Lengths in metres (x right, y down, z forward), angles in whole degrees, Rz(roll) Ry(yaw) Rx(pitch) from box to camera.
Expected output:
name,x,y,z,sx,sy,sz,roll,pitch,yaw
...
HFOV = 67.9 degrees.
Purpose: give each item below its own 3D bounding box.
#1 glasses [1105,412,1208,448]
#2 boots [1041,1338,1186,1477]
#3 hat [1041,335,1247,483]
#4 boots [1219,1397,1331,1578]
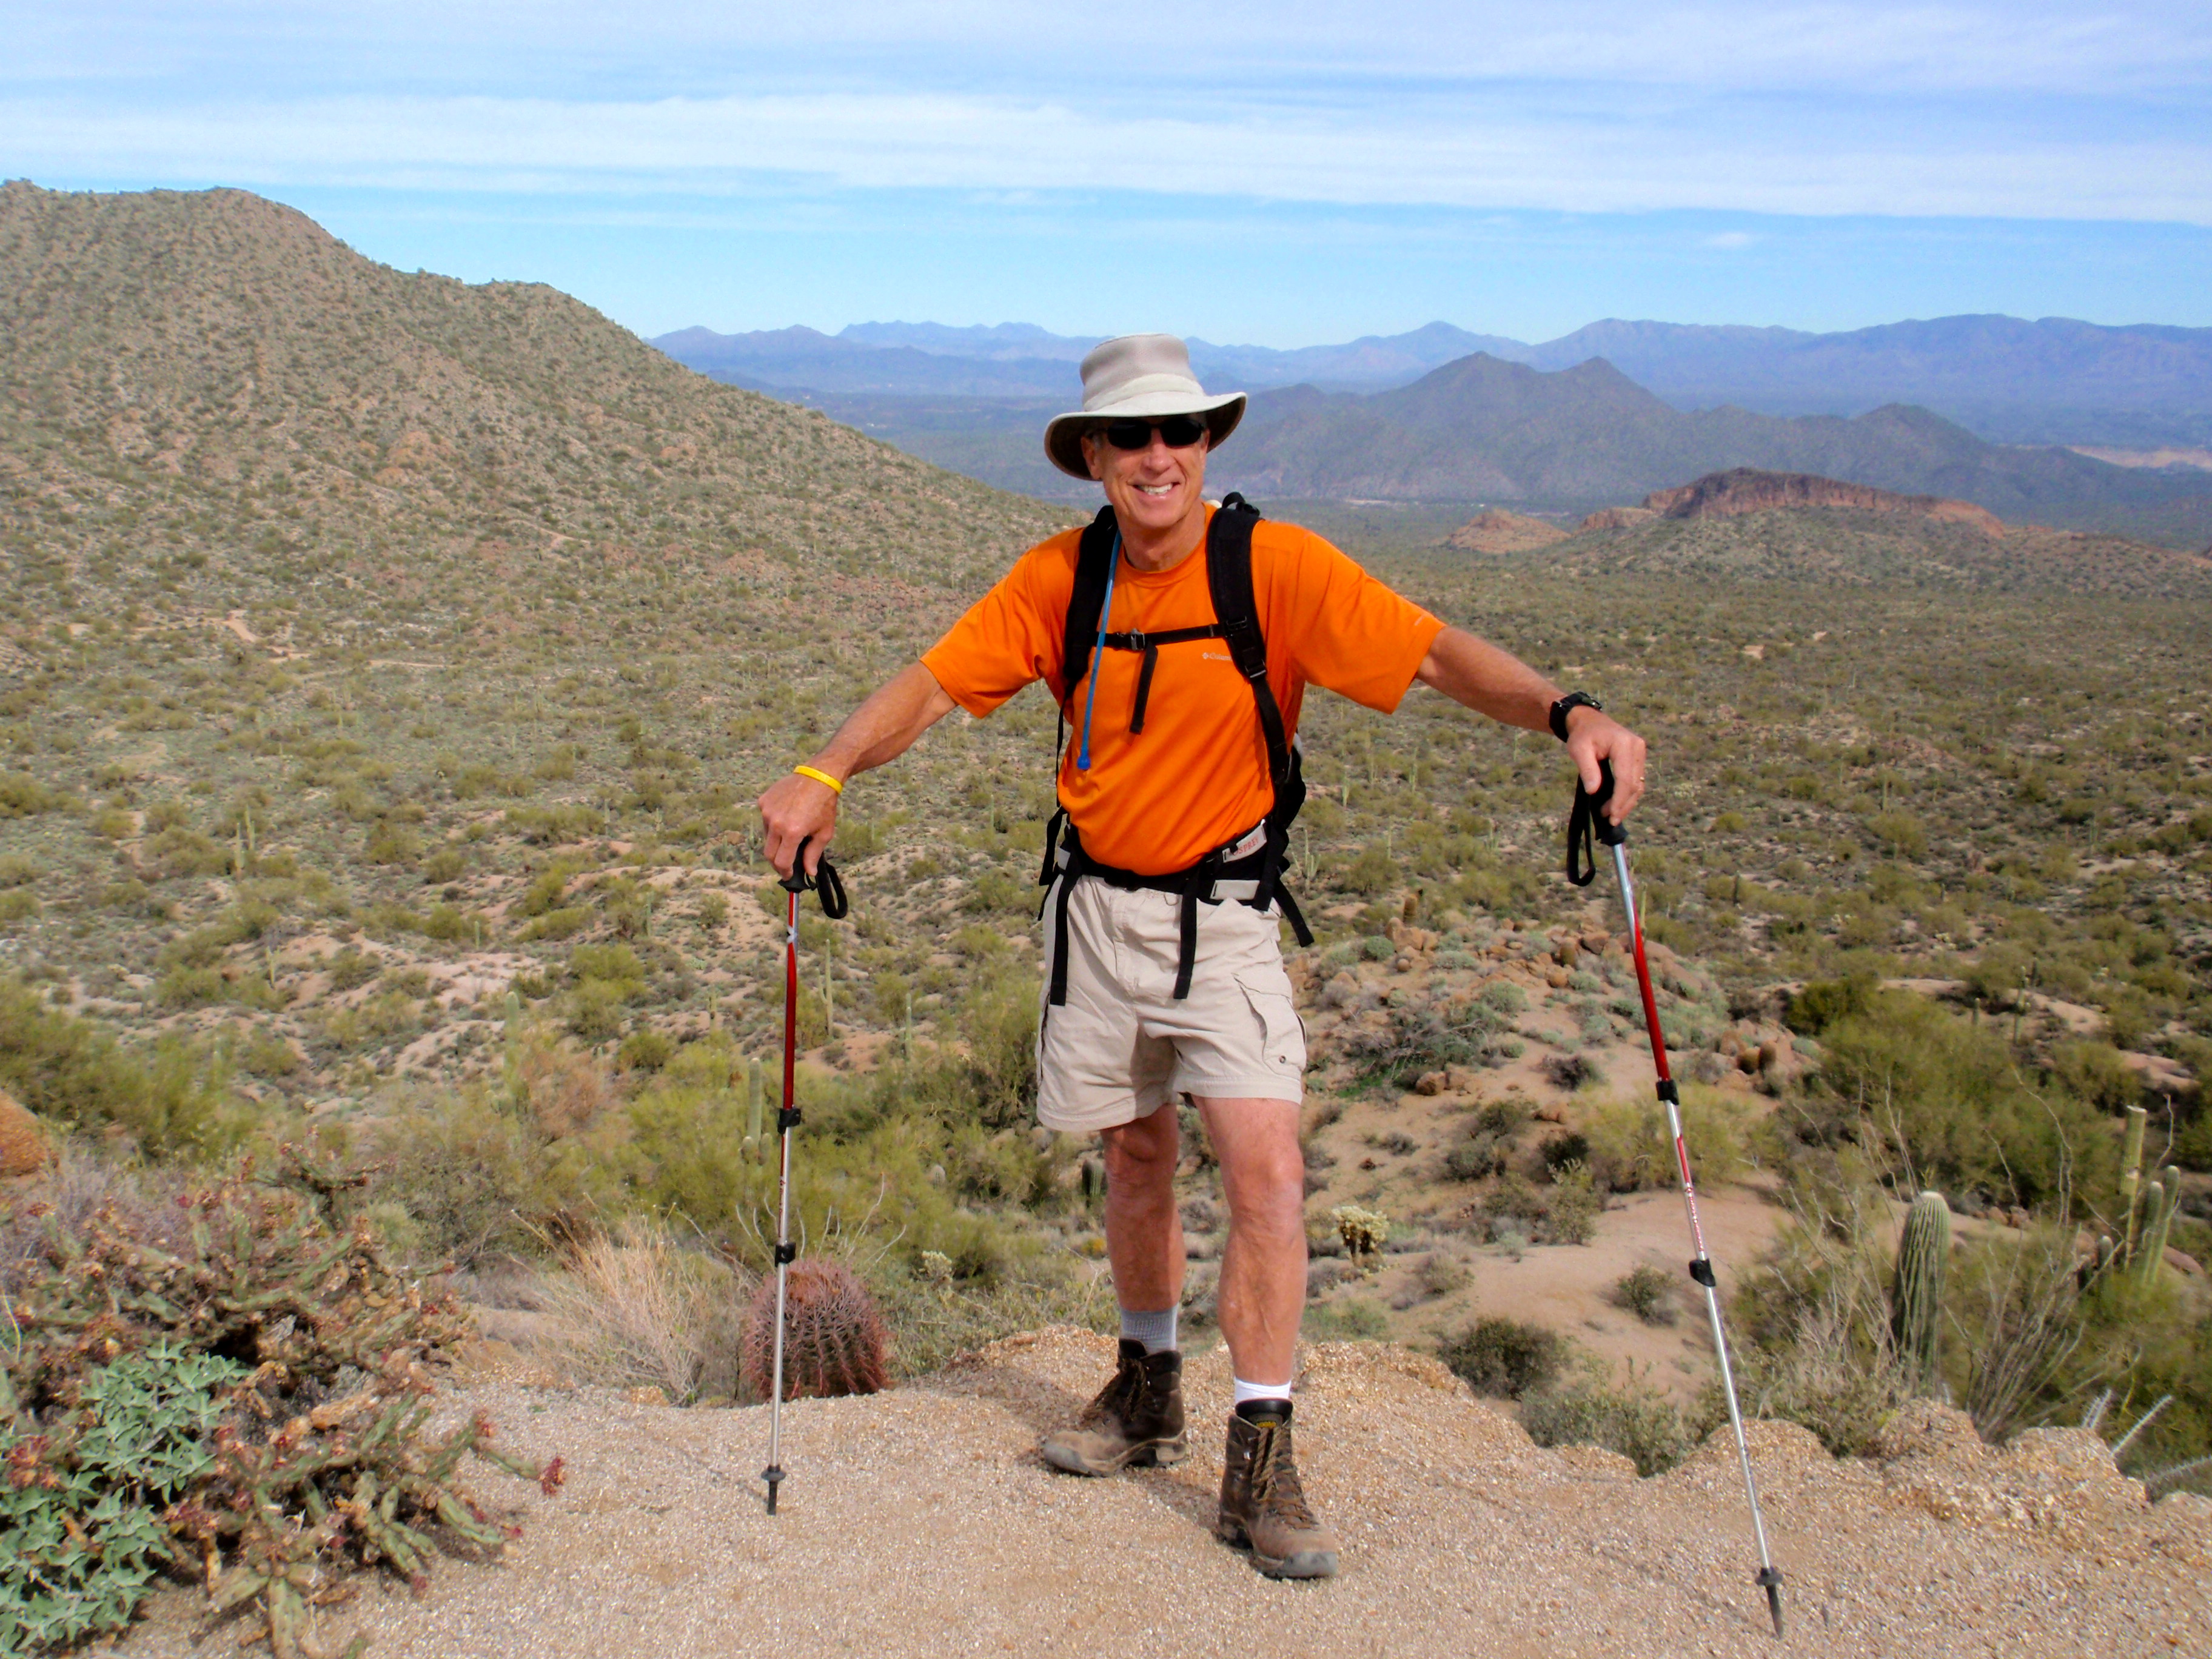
name,x,y,z,sx,sy,sz,roll,pitch,yaw
glasses,0.181,-1.458,5.989,0.354,0.134,0.131,-2,15,-16
boots,0.061,2.227,6.351,0.583,0.501,0.256,5,-2,-31
hat,0.143,-1.564,6.103,0.728,0.533,0.637,1,14,-2
boots,0.601,2.322,5.791,0.302,0.526,0.482,-5,16,-26
